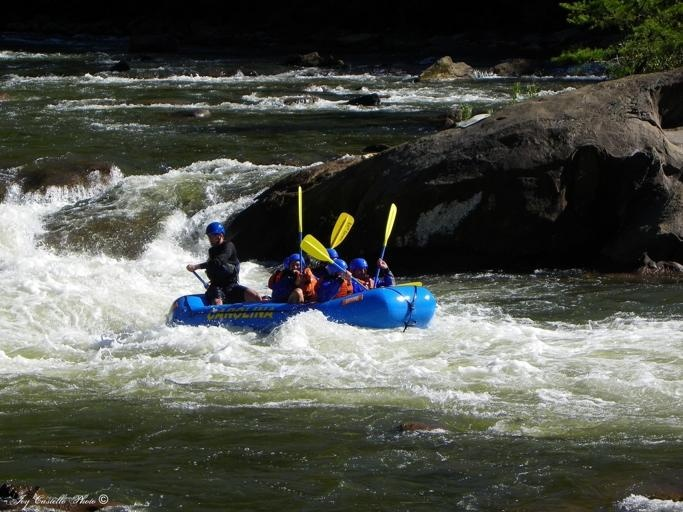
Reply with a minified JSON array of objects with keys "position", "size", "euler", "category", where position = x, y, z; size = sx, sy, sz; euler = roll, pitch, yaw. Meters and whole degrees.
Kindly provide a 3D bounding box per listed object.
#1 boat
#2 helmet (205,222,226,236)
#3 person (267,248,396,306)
[{"position":[-0.559,0.757,12.589],"size":[3.141,0.447,1.140],"euler":[-1,2,15],"category":"boat"},{"position":[-1.768,-0.400,13.268],"size":[0.355,0.120,0.234],"euler":[1,12,-31],"category":"helmet"},{"position":[-0.178,0.318,13.013],"size":[1.494,0.336,0.888],"euler":[-9,-1,16],"category":"person"}]
